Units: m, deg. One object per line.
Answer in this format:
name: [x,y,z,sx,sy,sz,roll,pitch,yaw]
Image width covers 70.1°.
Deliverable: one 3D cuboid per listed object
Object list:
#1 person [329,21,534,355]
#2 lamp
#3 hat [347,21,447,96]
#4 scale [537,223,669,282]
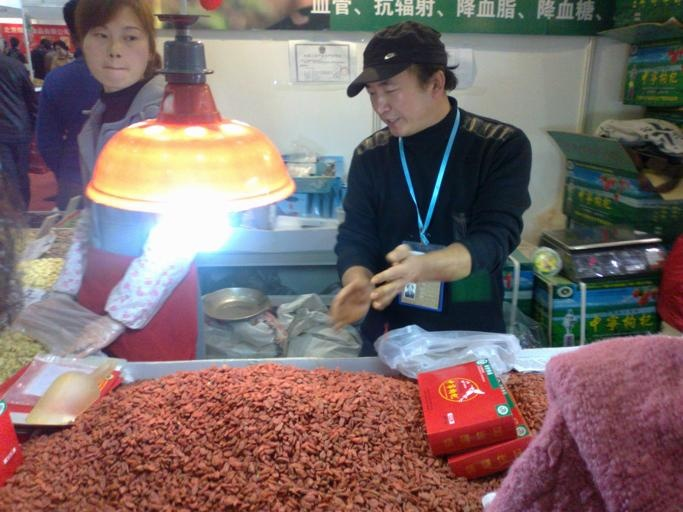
person: [0.279,-0.147,1.754,0.730,1.274,0.749,10,25,19]
lamp: [-0.295,-0.239,1.001,0.387,0.300,0.384,1,12,24]
hat: [0.200,-0.686,1.744,0.309,0.160,0.213,-19,15,-14]
scale: [1.498,-0.038,2.852,0.547,0.181,0.499,-7,20,-7]
